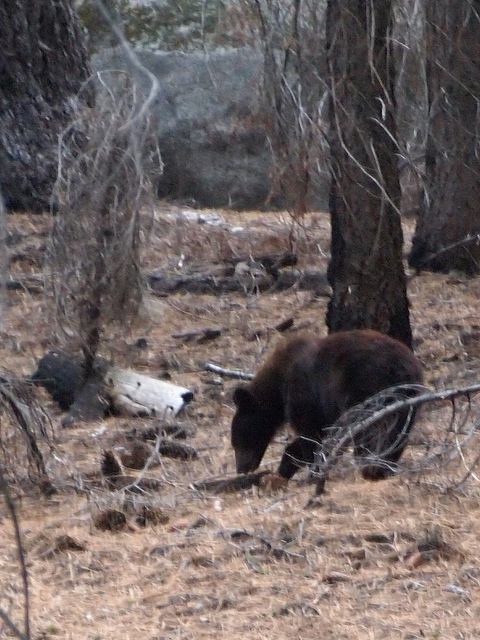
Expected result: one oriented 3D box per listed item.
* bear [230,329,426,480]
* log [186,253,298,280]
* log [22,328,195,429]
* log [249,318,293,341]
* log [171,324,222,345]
[{"bbox_3d":[0.539,0.564,5.957,1.255,0.837,0.533,-5,-5,32],"label":"bear"},{"bbox_3d":[-0.066,-0.585,10.955,0.778,0.155,0.489,-5,0,-6],"label":"log"},{"bbox_3d":[-1.075,0.521,7.673,0.959,0.238,0.936,13,27,25],"label":"log"},{"bbox_3d":[0.282,0.100,9.132,0.395,0.081,0.065,-24,-12,6],"label":"log"},{"bbox_3d":[-0.387,0.128,9.244,0.354,0.076,0.194,-16,13,-9],"label":"log"}]
